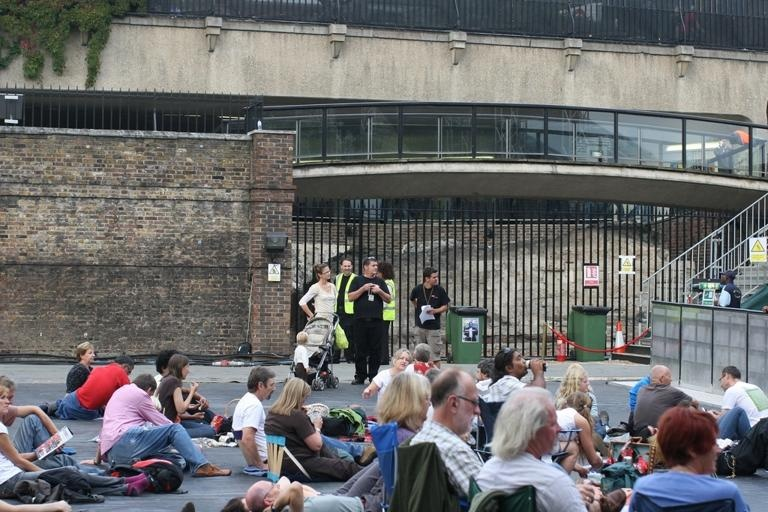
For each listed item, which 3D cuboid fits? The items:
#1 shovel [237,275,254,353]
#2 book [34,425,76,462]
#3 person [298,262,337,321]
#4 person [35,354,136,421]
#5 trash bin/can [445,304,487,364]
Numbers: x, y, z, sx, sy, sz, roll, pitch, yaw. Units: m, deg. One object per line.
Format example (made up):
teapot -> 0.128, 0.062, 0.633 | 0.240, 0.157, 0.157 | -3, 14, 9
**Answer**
shovel -> -3.856, 1.623, 52.664 | 0.353, 2.254, 0.301 | 3, -3, -5
book -> -7.443, 4.147, 42.573 | 0.643, 0.765, 0.605 | 4, -4, -27
person -> -1.747, 0.989, 49.659 | 0.842, 1.534, 0.813 | 2, 6, -8
person -> -7.123, 3.238, 46.145 | 2.903, 1.246, 1.174 | -7, 13, -2
trash bin/can -> 2.189, 2.220, 53.931 | 1.461, 1.947, 1.443 | 1, -4, -12
